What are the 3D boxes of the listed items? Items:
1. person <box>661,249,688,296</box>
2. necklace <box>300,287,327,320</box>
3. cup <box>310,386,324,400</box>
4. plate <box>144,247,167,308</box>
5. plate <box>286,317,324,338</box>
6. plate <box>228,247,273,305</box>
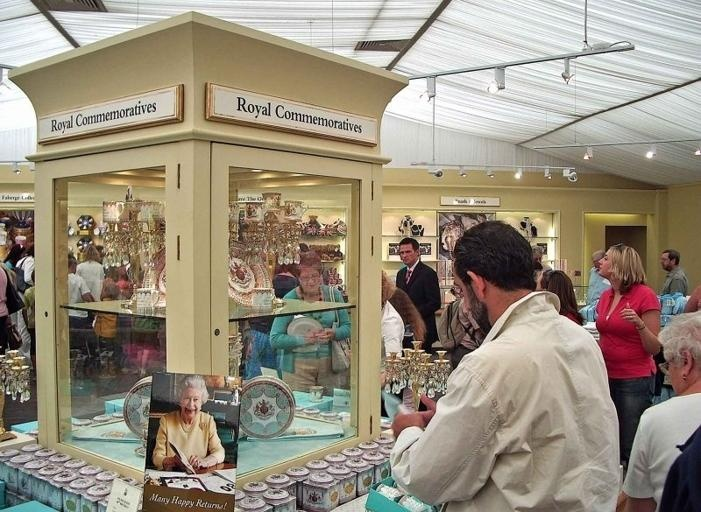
[{"bbox_3d":[4.523,0.223,7.483,0.284,0.643,1.007,-1,-2,31],"label":"person"},{"bbox_3d":[-0.163,0.210,2.341,0.090,0.126,0.046,-2,1,-12],"label":"necklace"},{"bbox_3d":[-0.156,0.595,2.394,0.061,0.060,0.060,1,8,0],"label":"cup"},{"bbox_3d":[-0.795,0.082,2.162,0.038,0.250,0.177,1,-2,-39],"label":"plate"},{"bbox_3d":[-0.204,0.307,2.344,0.174,0.089,0.014,1,-2,-37],"label":"plate"},{"bbox_3d":[-0.415,0.086,2.196,0.050,0.240,0.232,-1,-2,27],"label":"plate"}]
